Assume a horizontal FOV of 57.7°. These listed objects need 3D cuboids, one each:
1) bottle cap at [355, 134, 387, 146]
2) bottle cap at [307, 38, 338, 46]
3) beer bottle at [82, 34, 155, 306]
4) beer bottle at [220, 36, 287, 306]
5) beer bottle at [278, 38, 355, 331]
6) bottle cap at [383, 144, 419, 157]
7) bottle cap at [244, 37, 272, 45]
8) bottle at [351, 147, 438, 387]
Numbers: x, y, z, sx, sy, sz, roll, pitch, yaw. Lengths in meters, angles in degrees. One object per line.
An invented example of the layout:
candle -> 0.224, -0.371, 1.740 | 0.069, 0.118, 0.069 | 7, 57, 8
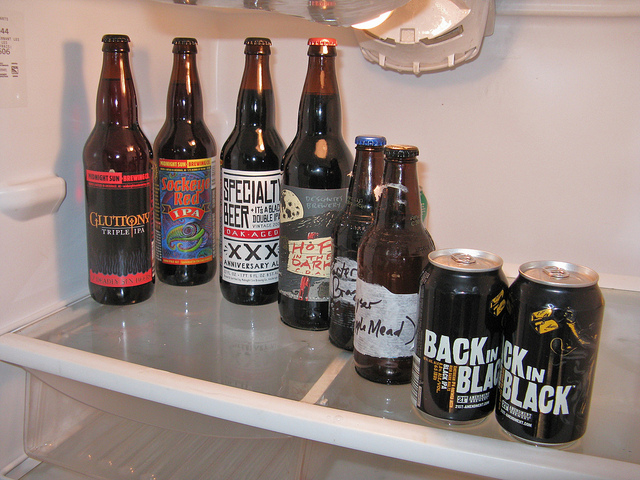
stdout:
bottle cap -> 0.067, -0.138, 0.804 | 0.038, 0.011, 0.047 | -1, 17, -8
bottle cap -> 0.005, -0.298, 0.877 | 0.038, 0.013, 0.063 | 3, 17, 4
beer bottle -> -0.330, -0.107, 0.948 | 0.116, 0.430, 0.104 | -4, 18, -18
beer bottle -> -0.122, -0.108, 0.979 | 0.138, 0.413, 0.120 | 2, 13, -3
beer bottle -> -0.021, -0.078, 0.947 | 0.137, 0.417, 0.117 | 2, 12, -2
bottle cap -> 0.102, -0.112, 0.735 | 0.042, 0.013, 0.028 | 3, 17, 5
bottle cap -> -0.097, -0.311, 0.913 | 0.037, 0.010, 0.023 | -4, 17, -17
bottle -> 0.097, 0.041, 0.767 | 0.090, 0.322, 0.046 | 5, 18, 9
